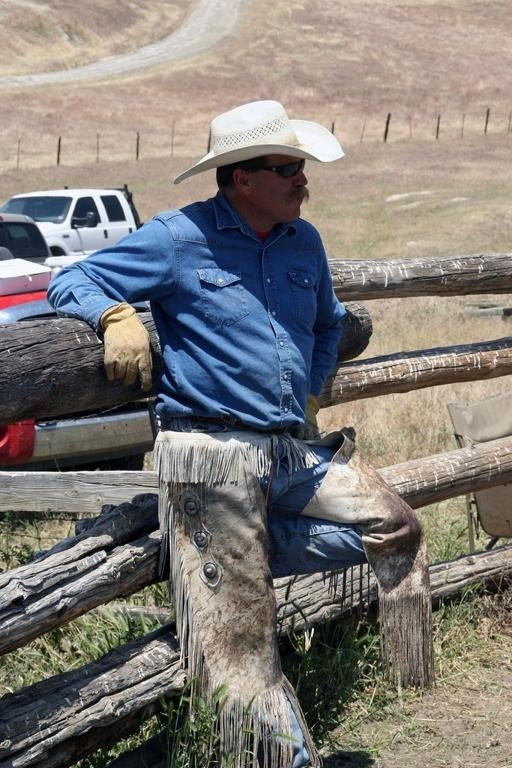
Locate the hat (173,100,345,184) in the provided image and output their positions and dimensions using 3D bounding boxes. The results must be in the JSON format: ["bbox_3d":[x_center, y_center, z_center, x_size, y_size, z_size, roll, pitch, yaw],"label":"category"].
[{"bbox_3d":[0.035,-0.741,2.345,0.466,0.163,0.344,-14,23,-4],"label":"hat"}]

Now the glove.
[{"bbox_3d":[-0.367,-0.102,2.212,0.139,0.255,0.165,0,9,-11],"label":"glove"}]

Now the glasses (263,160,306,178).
[{"bbox_3d":[0.091,-0.638,2.339,0.086,0.024,0.074,10,23,32],"label":"glasses"}]

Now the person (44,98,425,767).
[{"bbox_3d":[0.015,0.108,2.451,1.006,1.954,0.798,-7,13,-43],"label":"person"}]
